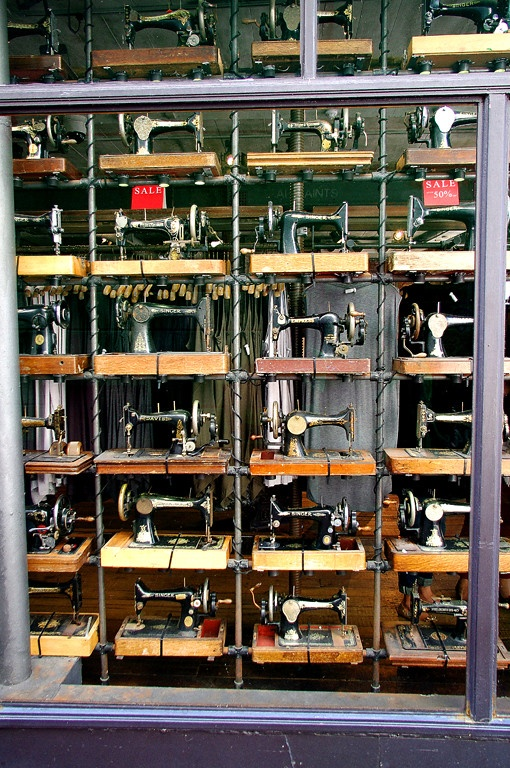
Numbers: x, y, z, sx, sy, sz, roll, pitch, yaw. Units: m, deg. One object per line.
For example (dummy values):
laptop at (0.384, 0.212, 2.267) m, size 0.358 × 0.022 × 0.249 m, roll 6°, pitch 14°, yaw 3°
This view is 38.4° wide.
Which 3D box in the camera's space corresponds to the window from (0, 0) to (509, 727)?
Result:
window at (-0.136, -0.137, 2.905) m, size 1.770 × 3.022 × 1.536 m, roll 1°, pitch -4°, yaw -7°
